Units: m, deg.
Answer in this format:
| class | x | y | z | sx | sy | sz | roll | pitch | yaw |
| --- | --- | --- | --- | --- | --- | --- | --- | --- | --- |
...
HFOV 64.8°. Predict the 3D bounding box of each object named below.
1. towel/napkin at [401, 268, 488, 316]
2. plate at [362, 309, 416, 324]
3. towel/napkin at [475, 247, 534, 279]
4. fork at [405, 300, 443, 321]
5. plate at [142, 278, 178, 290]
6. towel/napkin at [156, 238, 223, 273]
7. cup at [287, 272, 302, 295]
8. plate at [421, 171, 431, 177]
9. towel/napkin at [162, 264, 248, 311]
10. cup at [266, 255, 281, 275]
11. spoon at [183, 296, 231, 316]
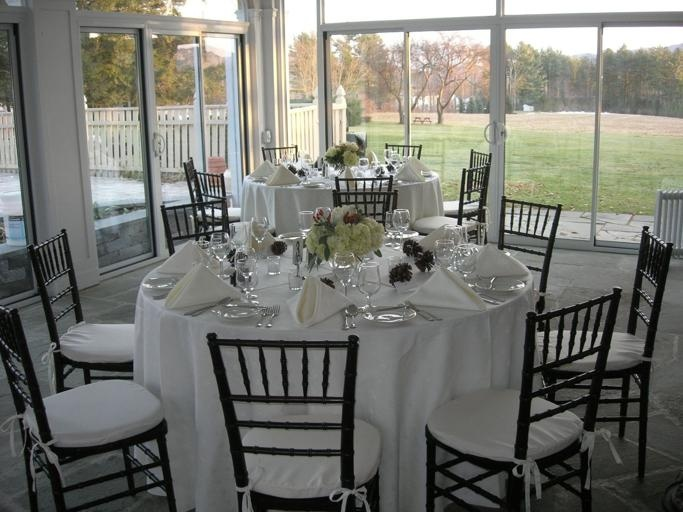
| class | x | y | z | sx | sy | sz | roll | pitch | yaw |
| --- | --- | --- | --- | --- | --- | --- | --- | --- | --- |
| towel/napkin | 0.462 | 0.147 | 2.553 | 0.360 | 0.164 | 0.360 | 0 | 12 | -9 |
| plate | 0.220 | 0.263 | 2.357 | 0.126 | 0.026 | 0.098 | 1 | 15 | -1 |
| towel/napkin | 0.851 | 0.041 | 2.842 | 0.215 | 0.093 | 0.174 | 4 | 3 | -5 |
| fork | 0.365 | 0.226 | 2.412 | 0.051 | 0.026 | 0.205 | -8 | 17 | -14 |
| plate | -0.940 | 0.140 | 2.794 | 0.108 | 0.027 | 0.089 | 5 | 24 | -5 |
| towel/napkin | -0.861 | 0.011 | 3.024 | 0.207 | 0.124 | 0.229 | 2 | 5 | 9 |
| cup | -0.231 | 0.132 | 2.706 | 0.077 | 0.106 | 0.082 | 2 | 4 | 0 |
| plate | 0.940 | -0.897 | 5.871 | 0.074 | 0.038 | 0.095 | 3 | 14 | 4 |
| towel/napkin | -0.669 | 0.165 | 2.533 | 0.229 | 0.135 | 0.240 | -6 | -2 | 34 |
| cup | -0.380 | 0.050 | 3.015 | 0.090 | 0.111 | 0.084 | 2 | 9 | 0 |
| spoon | -0.625 | 0.233 | 2.474 | 0.021 | 0.016 | 0.186 | 41 | 39 | 21 |
